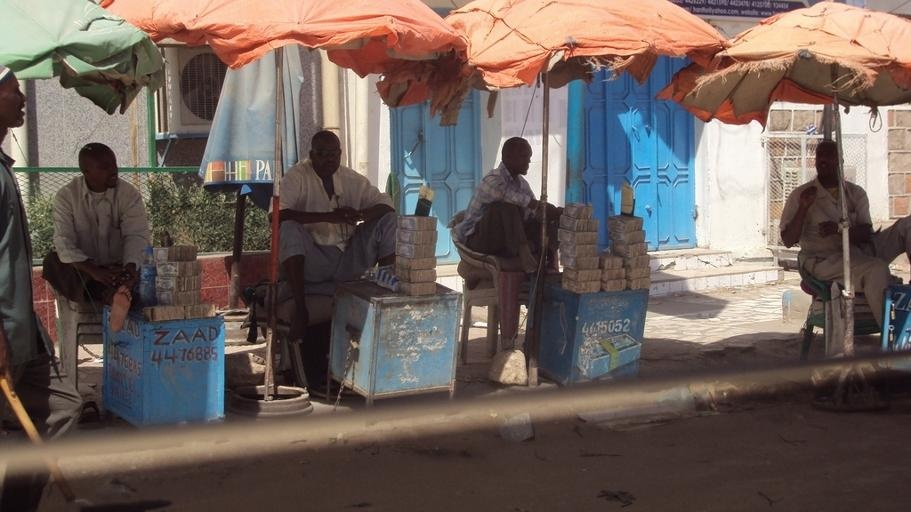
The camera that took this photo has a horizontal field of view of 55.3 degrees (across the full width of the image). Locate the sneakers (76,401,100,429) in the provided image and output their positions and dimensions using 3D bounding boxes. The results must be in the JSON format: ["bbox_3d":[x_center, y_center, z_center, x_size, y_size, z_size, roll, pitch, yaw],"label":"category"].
[{"bbox_3d":[-3.575,1.524,8.516,0.196,0.172,0.404,-4,5,-14],"label":"sneakers"}]

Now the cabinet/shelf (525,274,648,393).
[{"bbox_3d":[1.466,0.796,9.564,1.054,0.971,0.849,-6,11,-37],"label":"cabinet/shelf"}]

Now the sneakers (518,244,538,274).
[{"bbox_3d":[0.805,0.045,9.620,0.226,0.292,0.101,-5,-4,6],"label":"sneakers"}]

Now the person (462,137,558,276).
[{"bbox_3d":[0.563,-0.572,10.013,1.169,1.501,1.019,2,-3,12],"label":"person"}]

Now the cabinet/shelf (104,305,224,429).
[{"bbox_3d":[-2.926,1.062,8.645,0.900,1.031,1.101,1,5,-33],"label":"cabinet/shelf"}]

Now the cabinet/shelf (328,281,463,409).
[{"bbox_3d":[-0.661,0.806,8.880,1.166,1.048,1.148,-1,6,-30],"label":"cabinet/shelf"}]

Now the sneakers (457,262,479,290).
[{"bbox_3d":[0.119,0.214,9.928,0.291,0.283,0.226,0,3,-30],"label":"sneakers"}]
